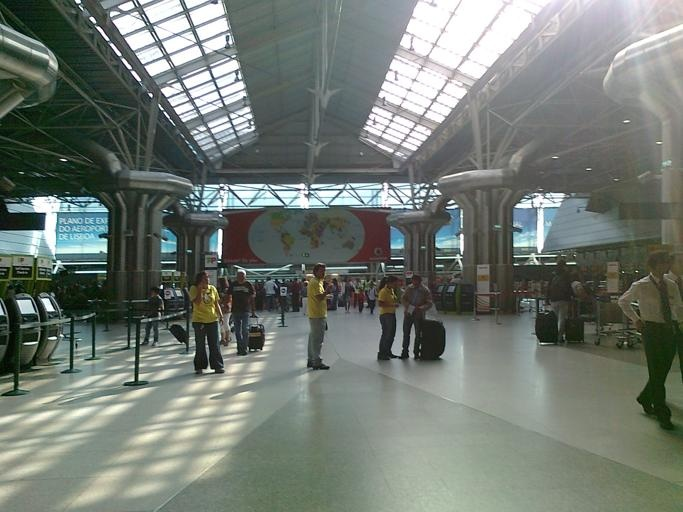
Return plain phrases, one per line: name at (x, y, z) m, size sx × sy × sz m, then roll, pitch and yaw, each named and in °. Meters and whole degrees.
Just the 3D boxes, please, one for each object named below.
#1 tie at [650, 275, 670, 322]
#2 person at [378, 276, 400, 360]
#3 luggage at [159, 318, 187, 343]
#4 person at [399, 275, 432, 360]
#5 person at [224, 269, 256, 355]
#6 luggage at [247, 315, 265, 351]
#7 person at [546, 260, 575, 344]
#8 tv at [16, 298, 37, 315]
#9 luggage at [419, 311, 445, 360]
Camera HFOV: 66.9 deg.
tie at (4.584, 0.631, 7.464) m, size 0.270 × 0.666 × 0.129 m, roll 1°, pitch 2°, yaw 29°
person at (1.145, 1.503, 12.766) m, size 0.466 × 1.991 × 0.509 m, roll 9°, pitch 0°, yaw -9°
luggage at (-4.258, 2.035, 13.707) m, size 0.411 × 0.489 × 0.477 m, roll 0°, pitch 2°, yaw -9°
person at (1.850, 1.439, 12.700) m, size 0.608 × 2.202 × 0.645 m, roll 8°, pitch 0°, yaw -19°
person at (-2.693, 1.497, 14.195) m, size 0.613 × 2.308 × 1.548 m, roll -1°, pitch 2°, yaw -12°
luggage at (-2.497, 2.161, 14.809) m, size 0.613 × 0.972 × 0.601 m, roll -2°, pitch 2°, yaw -9°
person at (6.090, 1.256, 14.649) m, size 0.825 × 2.288 × 0.617 m, roll 7°, pitch 0°, yaw 36°
tv at (-6.834, 1.099, 11.361) m, size 0.292 × 0.489 × 0.303 m, roll -7°, pitch 41°, yaw -24°
luggage at (2.245, 1.891, 12.811) m, size 0.752 × 1.128 × 0.769 m, roll 5°, pitch 22°, yaw 23°
